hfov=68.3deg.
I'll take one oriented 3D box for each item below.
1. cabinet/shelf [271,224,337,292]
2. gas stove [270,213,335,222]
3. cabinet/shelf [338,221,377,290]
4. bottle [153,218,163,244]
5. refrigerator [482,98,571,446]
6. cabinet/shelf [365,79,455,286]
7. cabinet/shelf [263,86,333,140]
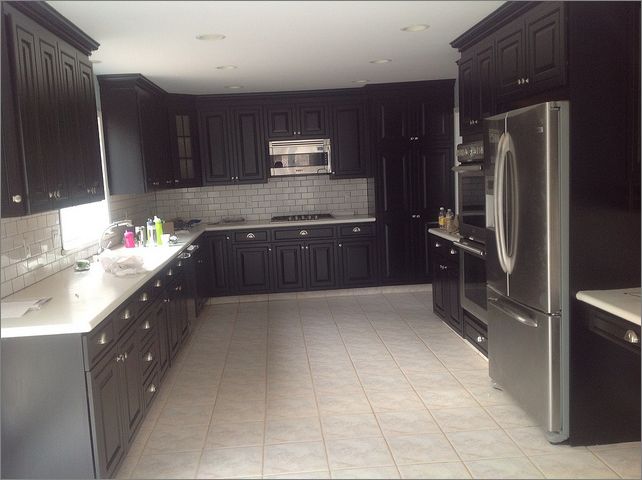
[{"bbox_3d":[-0.264,0.194,6.482,0.914,0.885,0.470,-1,2,-2],"label":"cabinet/shelf"},{"bbox_3d":[-0.266,-0.335,6.732,0.877,0.035,0.608,-3,11,-2],"label":"gas stove"},{"bbox_3d":[0.478,0.180,6.796,0.694,0.928,0.722,-2,6,16],"label":"cabinet/shelf"},{"bbox_3d":[-1.757,-0.104,5.087,0.062,0.260,0.297,-7,11,-19],"label":"bottle"},{"bbox_3d":[1.410,0.204,3.262,0.271,2.230,0.817,-4,11,-6],"label":"refrigerator"},{"bbox_3d":[1.243,-0.769,6.420,1.084,2.719,0.393,-1,11,9],"label":"cabinet/shelf"},{"bbox_3d":[-0.316,-1.584,6.681,1.041,0.709,0.579,0,3,2],"label":"cabinet/shelf"}]
